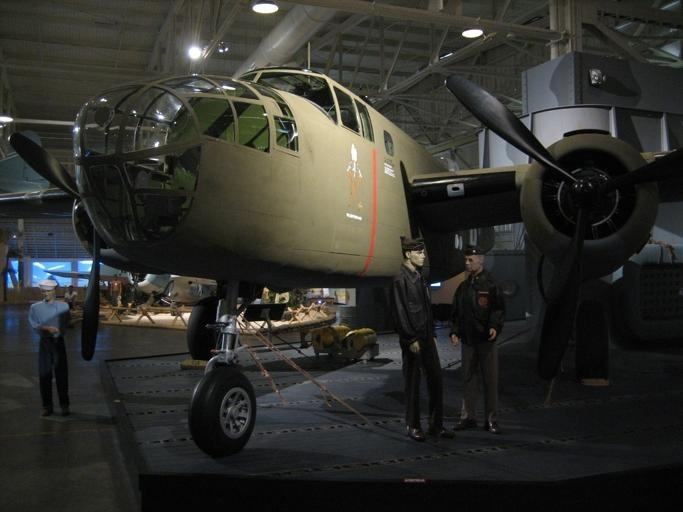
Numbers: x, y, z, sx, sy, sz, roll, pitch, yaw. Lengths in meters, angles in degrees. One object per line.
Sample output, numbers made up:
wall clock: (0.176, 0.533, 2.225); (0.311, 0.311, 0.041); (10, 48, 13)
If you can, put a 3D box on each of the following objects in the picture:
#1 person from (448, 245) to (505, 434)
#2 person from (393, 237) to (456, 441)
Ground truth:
person: (1.859, 1.103, 7.738); (0.714, 2.488, 0.443); (0, 1, 17)
person: (1.101, 1.067, 7.749); (0.683, 2.623, 1.152); (0, 1, 10)
